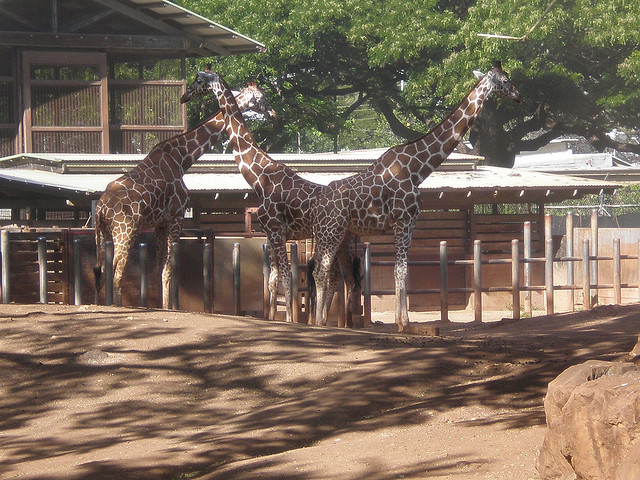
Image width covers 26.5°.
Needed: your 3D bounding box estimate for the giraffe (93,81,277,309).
[{"bbox_3d":[-3.166,-1.011,30.493,4.023,5.140,2.191,-1,0,-26],"label":"giraffe"}]
